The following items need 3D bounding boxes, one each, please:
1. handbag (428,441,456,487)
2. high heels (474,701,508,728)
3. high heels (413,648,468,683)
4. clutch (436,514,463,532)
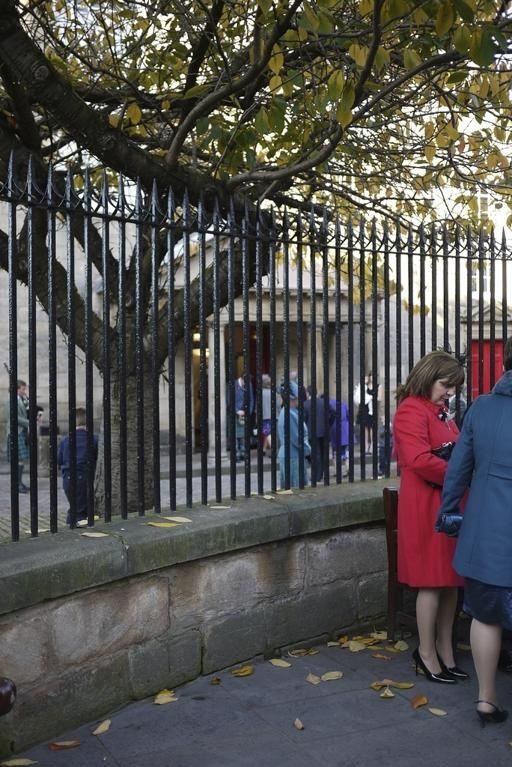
[{"bbox_3d":[0.929,0.420,5.196,0.098,0.217,0.165,-17,3,-34],"label":"handbag"},{"bbox_3d":[1.080,1.520,4.764,0.066,0.114,0.220,-3,-6,29],"label":"high heels"},{"bbox_3d":[0.961,1.453,5.355,0.227,0.131,0.132,7,-5,34],"label":"high heels"},{"bbox_3d":[0.928,0.673,4.932,0.089,0.091,0.034,-4,16,-4],"label":"clutch"}]
